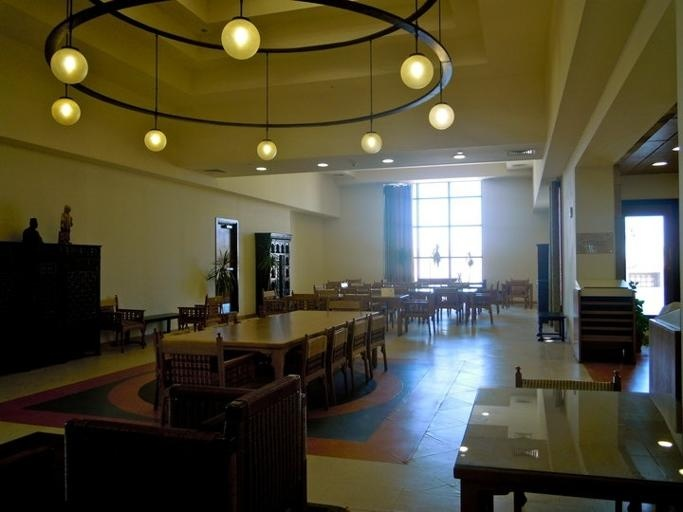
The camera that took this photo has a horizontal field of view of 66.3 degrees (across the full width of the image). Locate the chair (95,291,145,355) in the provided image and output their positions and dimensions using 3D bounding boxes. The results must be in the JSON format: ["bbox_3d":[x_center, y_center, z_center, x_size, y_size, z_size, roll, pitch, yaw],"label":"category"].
[{"bbox_3d":[-3.436,1.036,8.262,0.720,1.177,0.778,-1,-2,26],"label":"chair"}]
